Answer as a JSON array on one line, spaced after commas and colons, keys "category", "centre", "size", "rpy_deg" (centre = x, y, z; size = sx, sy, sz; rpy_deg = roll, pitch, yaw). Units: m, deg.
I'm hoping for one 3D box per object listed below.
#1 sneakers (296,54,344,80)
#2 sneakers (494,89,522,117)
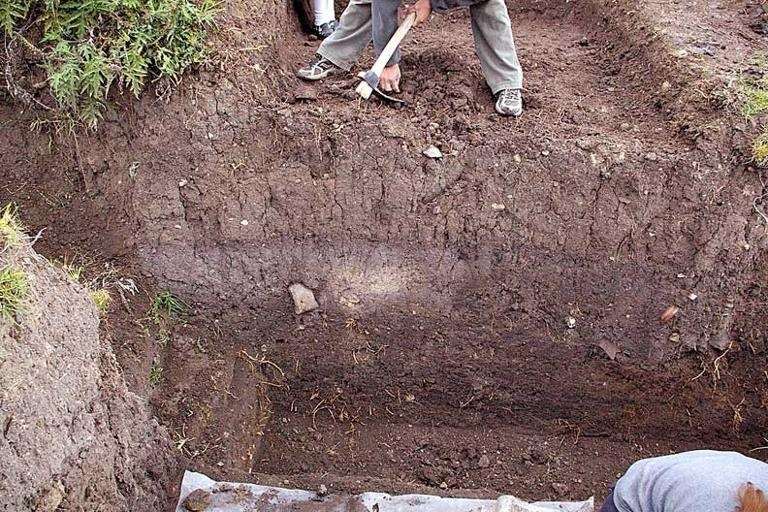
[{"category": "sneakers", "centre": [-0.506, -1.437, 5.861], "size": [0.407, 0.179, 0.157], "rpy_deg": [-15, 66, -26]}, {"category": "sneakers", "centre": [0.914, -1.118, 5.680], "size": [0.183, 0.178, 0.116], "rpy_deg": [7, 31, 14]}]
